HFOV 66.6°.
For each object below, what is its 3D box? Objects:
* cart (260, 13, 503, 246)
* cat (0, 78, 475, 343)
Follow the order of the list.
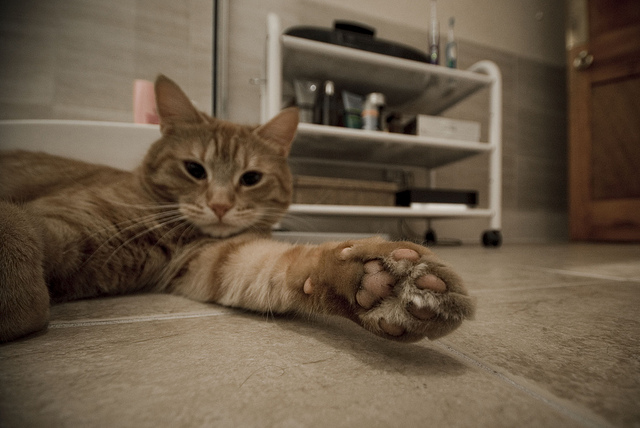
[{"bbox_3d":[0.310,-0.474,2.678,1.449,1.188,0.817,1,-8,-19],"label":"cart"},{"bbox_3d":[-0.358,-0.068,1.621,1.478,0.672,0.894,-4,-12,41],"label":"cat"}]
